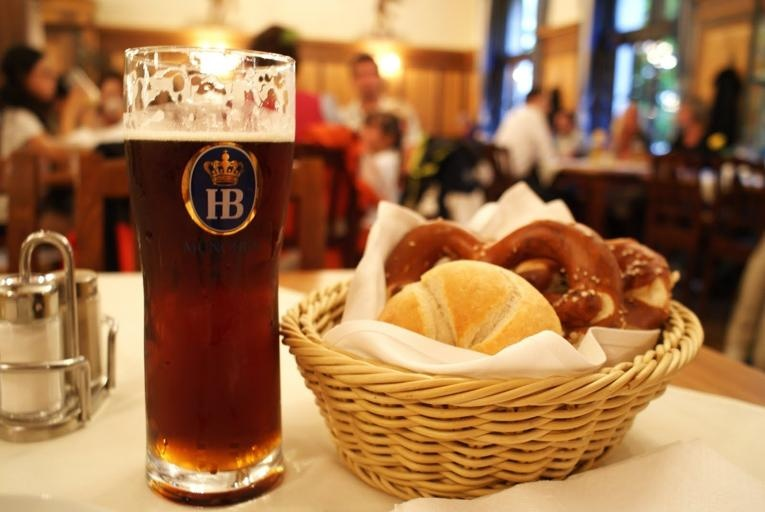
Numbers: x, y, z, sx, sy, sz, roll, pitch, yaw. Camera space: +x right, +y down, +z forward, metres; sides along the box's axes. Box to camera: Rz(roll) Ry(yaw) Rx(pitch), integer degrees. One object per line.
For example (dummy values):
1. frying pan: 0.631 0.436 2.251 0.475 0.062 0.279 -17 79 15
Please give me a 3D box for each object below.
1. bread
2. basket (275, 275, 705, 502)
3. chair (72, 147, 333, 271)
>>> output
1. bread: 0.267 0.024 0.989 0.269 0.084 0.269 -15 32 -26
2. basket: 0.156 0.135 0.833 0.328 0.107 0.315 -9 13 -36
3. chair: -0.598 -0.311 2.219 0.827 0.609 0.433 -1 8 -5
